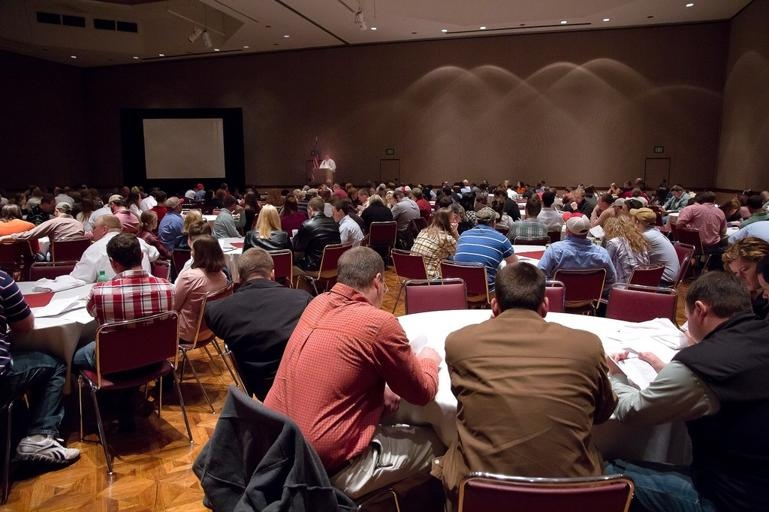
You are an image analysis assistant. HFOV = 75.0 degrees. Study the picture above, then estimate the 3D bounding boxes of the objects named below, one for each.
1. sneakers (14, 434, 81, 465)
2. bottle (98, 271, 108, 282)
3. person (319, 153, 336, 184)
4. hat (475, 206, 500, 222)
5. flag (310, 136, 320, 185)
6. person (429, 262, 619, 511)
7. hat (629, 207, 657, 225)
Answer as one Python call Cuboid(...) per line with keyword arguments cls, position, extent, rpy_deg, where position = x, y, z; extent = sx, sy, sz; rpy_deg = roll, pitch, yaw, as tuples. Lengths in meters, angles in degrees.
Cuboid(cls="sneakers", position=(-2.379, 1.384, 3.662), extent=(0.485, 0.268, 0.189), rpy_deg=(17, -9, -36))
Cuboid(cls="bottle", position=(-2.546, 0.190, 4.526), extent=(0.075, 0.092, 0.078), rpy_deg=(-4, 8, -31))
Cuboid(cls="person", position=(-1.934, -2.873, 16.751), extent=(0.544, 0.915, 1.519), rpy_deg=(-1, 10, -7))
Cuboid(cls="hat", position=(1.082, -0.418, 5.313), extent=(0.176, 0.101, 0.280), rpy_deg=(2, 17, 23))
Cuboid(cls="flag", position=(-2.350, -3.274, 17.088), extent=(0.326, 1.490, 1.384), rpy_deg=(-1, 10, -9))
Cuboid(cls="person", position=(0.664, 0.686, 2.421), extent=(0.852, 1.149, 0.450), rpy_deg=(1, 9, 6))
Cuboid(cls="hat", position=(2.728, -0.460, 5.377), extent=(0.170, 0.117, 0.247), rpy_deg=(-14, 25, -19))
